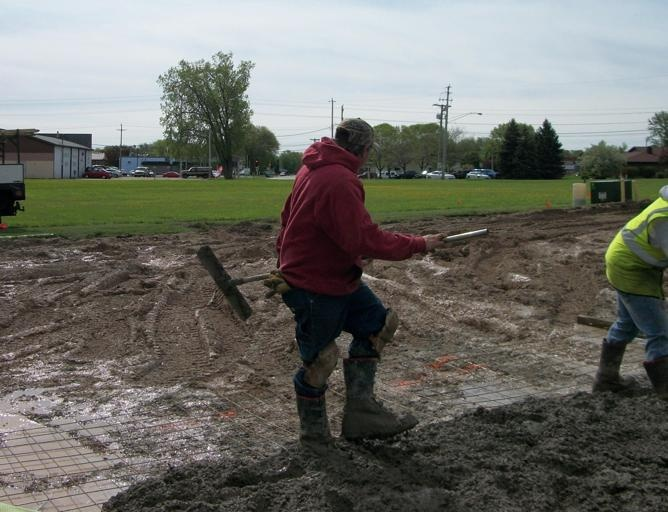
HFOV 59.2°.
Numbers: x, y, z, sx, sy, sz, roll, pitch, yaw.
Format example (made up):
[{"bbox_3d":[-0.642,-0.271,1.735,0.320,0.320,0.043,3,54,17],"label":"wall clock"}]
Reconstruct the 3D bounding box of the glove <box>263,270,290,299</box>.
[{"bbox_3d":[-0.441,0.238,4.220,0.159,0.210,0.205,-10,16,-34],"label":"glove"}]

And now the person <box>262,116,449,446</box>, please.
[{"bbox_3d":[0.065,0.318,4.296,1.057,2.099,0.600,-1,15,-1],"label":"person"}]

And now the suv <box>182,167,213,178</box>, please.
[{"bbox_3d":[-16.799,-8.797,72.199,4.154,1.204,1.760,9,16,38],"label":"suv"}]

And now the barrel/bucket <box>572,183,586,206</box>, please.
[{"bbox_3d":[8.582,-1.776,20.549,0.454,0.724,0.918,4,14,18],"label":"barrel/bucket"}]

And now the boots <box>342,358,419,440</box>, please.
[{"bbox_3d":[0.324,1.088,4.583,0.721,0.547,0.313,12,-19,-41],"label":"boots"}]
